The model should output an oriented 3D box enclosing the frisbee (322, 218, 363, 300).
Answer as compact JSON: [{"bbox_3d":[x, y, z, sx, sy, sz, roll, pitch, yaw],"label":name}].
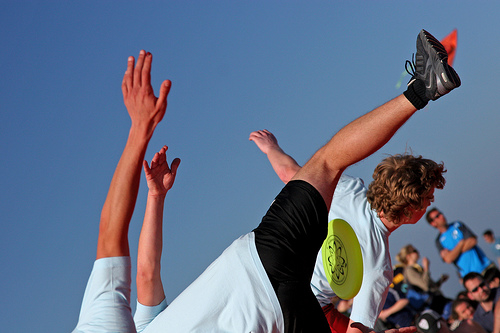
[{"bbox_3d":[0.767,0.739,6.164,0.071,0.497,0.509,3,-54,-48],"label":"frisbee"}]
